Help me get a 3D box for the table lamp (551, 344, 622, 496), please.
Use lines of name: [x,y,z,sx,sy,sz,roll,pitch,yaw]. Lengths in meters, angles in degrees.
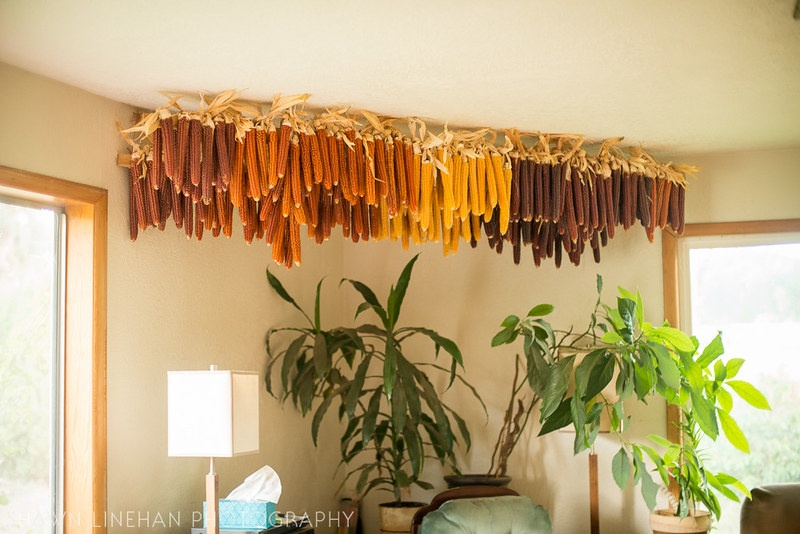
table lamp: [1.201,1.029,4.436,0.397,0.993,0.579,-3,-7,12]
